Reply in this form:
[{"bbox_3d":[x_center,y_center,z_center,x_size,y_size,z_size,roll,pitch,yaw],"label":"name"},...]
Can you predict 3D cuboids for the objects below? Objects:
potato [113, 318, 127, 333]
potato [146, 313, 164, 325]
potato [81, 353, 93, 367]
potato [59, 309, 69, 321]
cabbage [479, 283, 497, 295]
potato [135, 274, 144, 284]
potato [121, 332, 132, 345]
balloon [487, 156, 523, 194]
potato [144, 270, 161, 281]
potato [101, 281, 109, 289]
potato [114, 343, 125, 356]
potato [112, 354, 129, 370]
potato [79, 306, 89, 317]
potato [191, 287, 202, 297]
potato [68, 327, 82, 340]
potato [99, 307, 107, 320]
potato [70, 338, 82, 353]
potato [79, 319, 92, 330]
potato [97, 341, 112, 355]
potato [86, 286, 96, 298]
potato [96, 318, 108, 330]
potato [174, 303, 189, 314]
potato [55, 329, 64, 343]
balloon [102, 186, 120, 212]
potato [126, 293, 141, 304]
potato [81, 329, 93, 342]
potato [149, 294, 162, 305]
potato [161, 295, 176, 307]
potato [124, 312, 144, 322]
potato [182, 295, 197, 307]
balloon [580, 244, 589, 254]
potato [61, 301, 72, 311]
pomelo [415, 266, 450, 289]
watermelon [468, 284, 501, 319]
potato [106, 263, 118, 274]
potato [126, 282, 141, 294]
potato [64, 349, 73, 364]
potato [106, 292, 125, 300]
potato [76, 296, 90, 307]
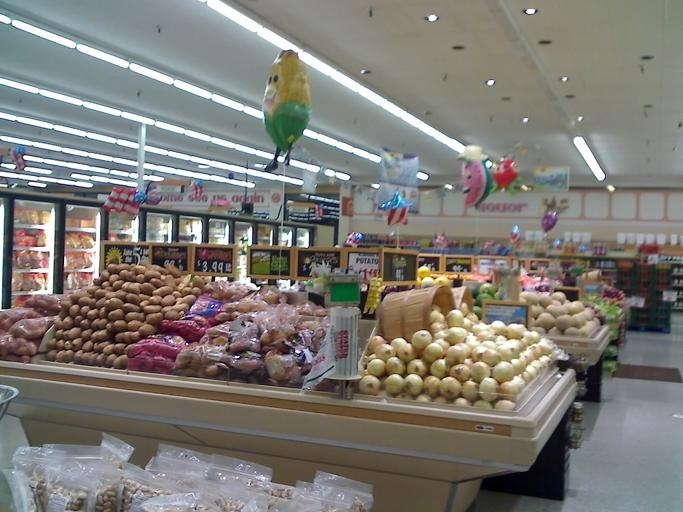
[{"bbox_3d":[-1.459,0.459,3.110,0.063,0.053,0.085,23,13,5],"label":"potato"},{"bbox_3d":[-1.253,0.424,3.158,0.109,0.074,0.044,6,4,-25],"label":"potato"},{"bbox_3d":[-1.643,0.684,3.070,0.060,0.085,0.082,-21,-32,32],"label":"potato"},{"bbox_3d":[-1.955,0.411,3.312,0.056,0.074,0.079,0,-14,2],"label":"potato"},{"bbox_3d":[1.342,0.302,4.295,0.091,0.104,0.126,-5,-4,6],"label":"cabbage"},{"bbox_3d":[-1.453,0.168,3.391,0.050,0.054,0.051,-8,-12,7],"label":"potato"},{"bbox_3d":[-1.394,0.537,3.061,0.055,0.060,0.075,0,1,-11],"label":"potato"},{"bbox_3d":[3.299,-1.542,9.371,0.588,0.793,0.585,1,-1,19],"label":"balloon"},{"bbox_3d":[-1.382,0.147,3.461,0.123,0.069,0.092,4,5,-43],"label":"potato"},{"bbox_3d":[-1.693,0.212,3.375,0.041,0.051,0.043,21,33,-10],"label":"potato"},{"bbox_3d":[-1.417,0.607,3.036,0.071,0.056,0.055,-15,-27,5],"label":"potato"},{"bbox_3d":[-1.385,0.661,2.953,0.085,0.091,0.041,10,2,43],"label":"potato"},{"bbox_3d":[-1.770,0.384,3.238,0.066,0.061,0.065,-42,7,-40],"label":"potato"},{"bbox_3d":[-1.083,0.272,3.518,0.054,0.068,0.054,19,-4,-26],"label":"potato"},{"bbox_3d":[-1.814,0.531,3.197,0.078,0.080,0.065,10,5,42],"label":"potato"},{"bbox_3d":[-1.620,0.393,3.187,0.053,0.074,0.040,5,-1,27],"label":"potato"},{"bbox_3d":[-1.776,0.597,3.141,0.045,0.098,0.039,26,37,5],"label":"potato"},{"bbox_3d":[-1.738,0.470,3.193,0.050,0.077,0.076,-1,3,-11],"label":"potato"},{"bbox_3d":[-1.532,0.603,3.043,0.054,0.052,0.114,2,-1,-15],"label":"potato"},{"bbox_3d":[-1.778,0.256,3.348,0.060,0.083,0.037,5,-14,-1],"label":"potato"},{"bbox_3d":[-1.610,0.460,3.150,0.055,0.061,0.077,1,-2,-3],"label":"potato"},{"bbox_3d":[-1.121,0.365,3.288,0.059,0.033,0.062,9,15,24],"label":"potato"},{"bbox_3d":[-1.939,0.560,3.240,0.067,0.070,0.070,-1,-4,-10],"label":"potato"},{"bbox_3d":[-4.076,-0.994,8.336,0.241,0.377,0.363,5,4,-28],"label":"balloon"},{"bbox_3d":[-1.415,0.293,3.195,0.080,0.061,0.061,38,-9,9],"label":"potato"},{"bbox_3d":[-1.710,0.536,3.156,0.056,0.061,0.080,-1,-9,-7],"label":"potato"},{"bbox_3d":[-1.298,0.307,3.280,0.079,0.054,0.071,5,4,-26],"label":"potato"},{"bbox_3d":[-1.223,0.321,3.307,0.069,0.057,0.096,5,0,-16],"label":"potato"},{"bbox_3d":[-1.381,0.411,3.127,0.061,0.049,0.083,-3,-10,33],"label":"potato"},{"bbox_3d":[-1.105,0.325,3.404,0.081,0.068,0.143,8,4,15],"label":"potato"},{"bbox_3d":[7.882,-0.212,15.241,0.367,0.287,0.768,0,-3,17],"label":"balloon"},{"bbox_3d":[-1.933,0.365,3.324,0.057,0.063,0.066,-16,-30,9],"label":"potato"},{"bbox_3d":[0.977,0.256,5.033,0.333,0.145,0.349,3,-3,0],"label":"pomelo"},{"bbox_3d":[1.287,0.394,4.290,0.335,0.440,0.336,0,-4,7],"label":"watermelon"},{"bbox_3d":[-1.695,0.105,3.530,0.082,0.086,0.087,-5,-19,11],"label":"potato"},{"bbox_3d":[-1.454,0.225,3.267,0.074,0.040,0.075,3,4,-7],"label":"potato"},{"bbox_3d":[-1.798,0.667,3.098,0.062,0.082,0.064,-1,0,-1],"label":"potato"},{"bbox_3d":[-1.532,0.271,3.208,0.092,0.044,0.057,-6,10,28],"label":"potato"},{"bbox_3d":[-1.783,0.320,3.260,0.063,0.033,0.066,5,38,3],"label":"potato"}]
